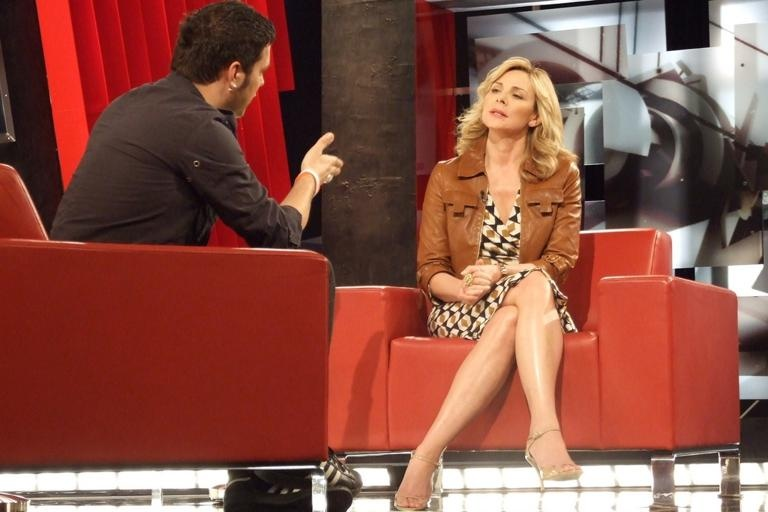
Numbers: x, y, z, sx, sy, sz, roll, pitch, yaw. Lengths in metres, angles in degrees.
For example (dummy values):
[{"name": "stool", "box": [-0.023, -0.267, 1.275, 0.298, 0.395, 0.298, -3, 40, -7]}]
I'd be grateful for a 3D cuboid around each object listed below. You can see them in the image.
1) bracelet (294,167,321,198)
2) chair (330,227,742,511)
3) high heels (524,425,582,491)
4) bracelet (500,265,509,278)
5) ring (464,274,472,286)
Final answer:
[{"name": "bracelet", "box": [-0.266, -0.259, 3.462, 0.079, 0.087, 0.031, 0, 8, 15]}, {"name": "chair", "box": [0.591, 0.744, 3.633, 1.559, 1.155, 0.882, -4, -11, 23]}, {"name": "high heels", "box": [0.594, 0.709, 3.316, 0.127, 0.193, 0.208, 1, -3, -27]}, {"name": "bracelet", "box": [0.471, 0.071, 3.719, 0.028, 0.047, 0.046, 4, 11, 1]}, {"name": "ring", "box": [0.333, 0.105, 3.701, 0.008, 0.038, 0.037, 13, 0, -25]}]
